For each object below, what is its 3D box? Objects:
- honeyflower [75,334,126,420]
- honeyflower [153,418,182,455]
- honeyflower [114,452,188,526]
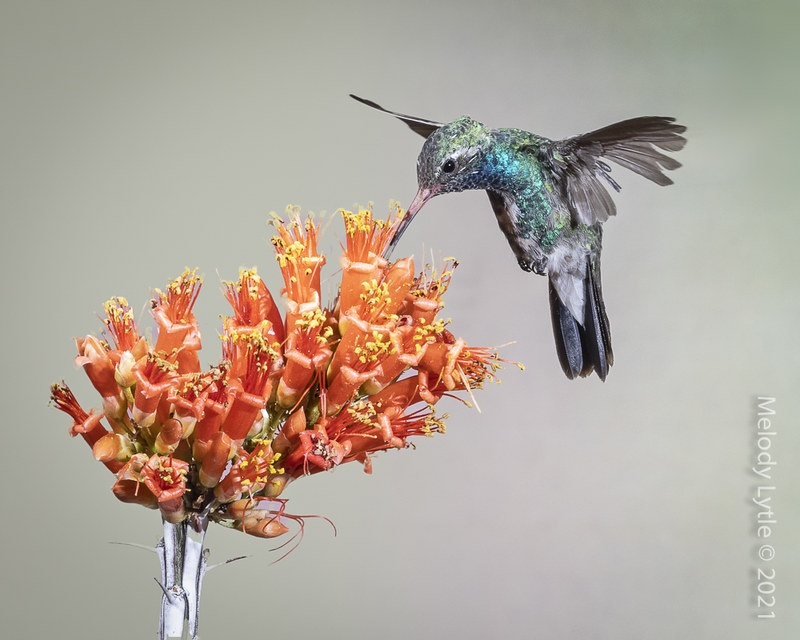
[{"bbox_3d":[-0.514,0.099,1.974,0.054,0.155,0.069,-32,5,0],"label":"honeyflower"},{"bbox_3d":[-0.395,0.199,1.951,0.025,0.026,0.055,-16,-17,-27],"label":"honeyflower"},{"bbox_3d":[-0.411,0.283,1.984,0.117,0.120,0.117,-26,-16,3],"label":"honeyflower"}]
